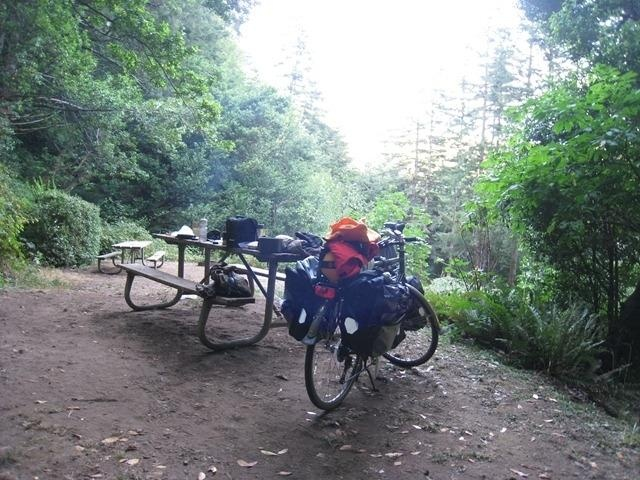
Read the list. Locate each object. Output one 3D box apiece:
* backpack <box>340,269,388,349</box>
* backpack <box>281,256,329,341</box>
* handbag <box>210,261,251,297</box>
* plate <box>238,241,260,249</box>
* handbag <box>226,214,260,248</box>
[{"bbox_3d":[0.506,0.824,6.173,0.346,0.818,0.525,7,-4,-21],"label":"backpack"},{"bbox_3d":[-0.099,0.728,6.491,0.394,0.852,0.666,17,-17,-26],"label":"backpack"},{"bbox_3d":[-1.264,0.591,7.638,0.651,0.444,0.406,9,1,-7],"label":"handbag"},{"bbox_3d":[-1.066,0.070,7.907,0.248,0.108,0.567,9,1,-8],"label":"plate"},{"bbox_3d":[-1.067,-0.124,7.992,0.558,0.465,0.359,2,-1,-44],"label":"handbag"}]
